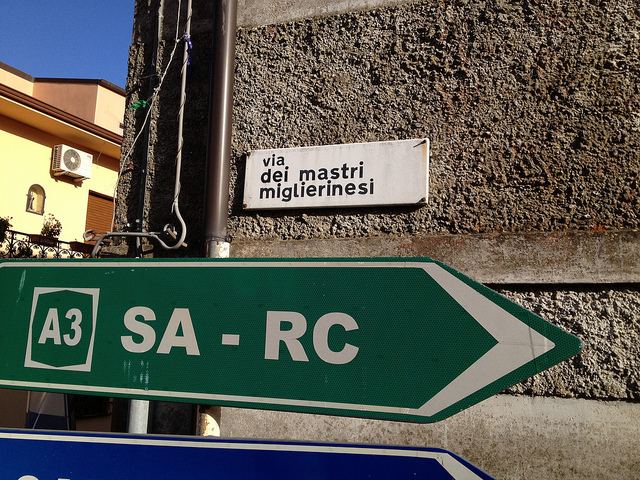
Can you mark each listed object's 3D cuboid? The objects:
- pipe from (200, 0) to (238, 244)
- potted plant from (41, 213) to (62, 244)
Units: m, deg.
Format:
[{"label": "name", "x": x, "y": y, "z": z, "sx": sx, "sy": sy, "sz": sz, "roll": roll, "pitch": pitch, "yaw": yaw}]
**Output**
[{"label": "pipe", "x": -0.687, "y": -0.831, "z": 4.848, "sx": 0.186, "sy": 1.697, "sz": 0.415, "roll": 2, "pitch": 3, "yaw": -7}, {"label": "potted plant", "x": -4.835, "y": -0.188, "z": 12.712, "sx": 0.281, "sy": 0.448, "sz": 0.265, "roll": 8, "pitch": 6, "yaw": 6}]
